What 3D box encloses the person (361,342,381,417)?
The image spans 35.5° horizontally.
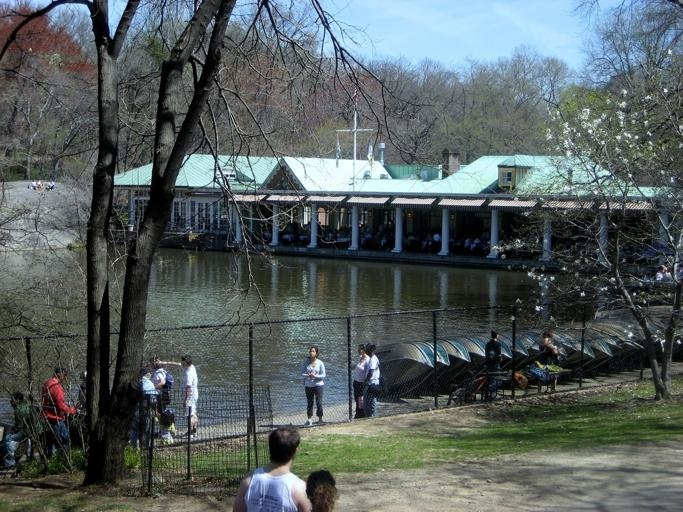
[{"bbox_3d":[0.681,2.814,24.653,0.331,1.662,0.768,-3,-8,11],"label":"person"}]

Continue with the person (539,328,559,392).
[{"bbox_3d":[5.428,2.721,28.059,0.530,1.563,2.792,-3,-8,10],"label":"person"}]

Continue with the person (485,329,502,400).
[{"bbox_3d":[3.705,2.624,26.369,0.395,1.667,0.874,-2,-8,7],"label":"person"}]

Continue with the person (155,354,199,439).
[{"bbox_3d":[-3.632,3.062,23.070,0.970,1.877,0.697,-5,-26,-7],"label":"person"}]

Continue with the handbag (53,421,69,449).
[{"bbox_3d":[-5.378,3.387,20.485,0.296,0.594,0.413,-8,12,-22],"label":"handbag"}]

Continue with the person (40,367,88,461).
[{"bbox_3d":[-5.424,2.952,20.599,0.695,1.694,1.052,0,-8,-11],"label":"person"}]

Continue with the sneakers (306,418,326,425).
[{"bbox_3d":[-0.636,3.691,23.983,0.251,0.089,0.183,-1,1,-28],"label":"sneakers"}]

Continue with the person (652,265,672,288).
[{"bbox_3d":[10.834,0.672,36.292,0.557,0.747,1.375,1,-2,11],"label":"person"}]
